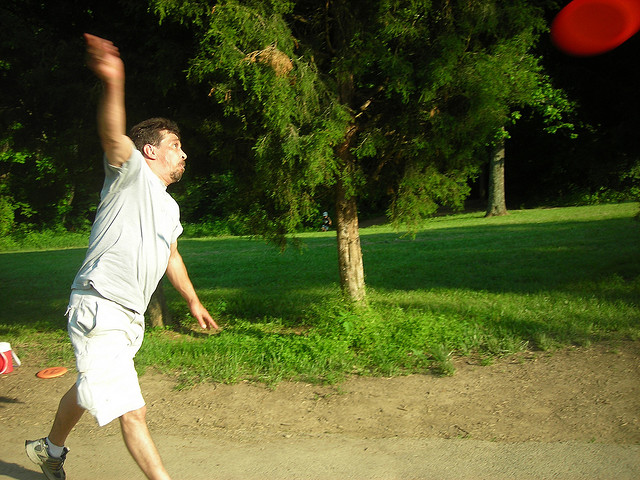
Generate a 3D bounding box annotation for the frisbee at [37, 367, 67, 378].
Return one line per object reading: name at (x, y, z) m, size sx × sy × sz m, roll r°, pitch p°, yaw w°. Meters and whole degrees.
frisbee at (-2.900, 1.440, 6.188) m, size 0.285 × 0.059 × 0.212 m, roll -1°, pitch 5°, yaw 17°
